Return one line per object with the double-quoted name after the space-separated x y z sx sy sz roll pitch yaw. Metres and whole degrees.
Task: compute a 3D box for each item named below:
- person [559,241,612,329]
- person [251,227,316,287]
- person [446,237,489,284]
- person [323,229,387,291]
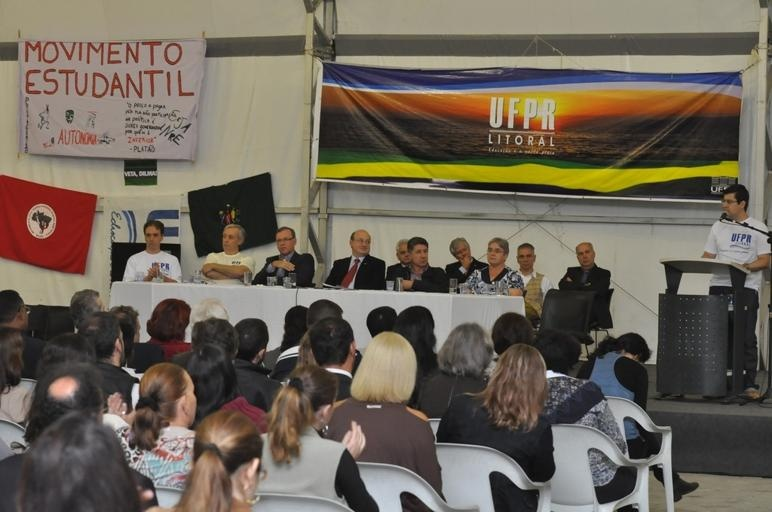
2.473 0.587 13.050 0.507 1.574 0.500 10 21 38 "person"
-1.211 -0.001 12.512 0.410 0.798 0.442 -9 -27 15 "person"
0.988 0.059 12.735 0.378 0.948 0.314 -5 -11 6 "person"
-0.369 0.065 12.206 0.718 0.804 0.624 1 1 -2 "person"
